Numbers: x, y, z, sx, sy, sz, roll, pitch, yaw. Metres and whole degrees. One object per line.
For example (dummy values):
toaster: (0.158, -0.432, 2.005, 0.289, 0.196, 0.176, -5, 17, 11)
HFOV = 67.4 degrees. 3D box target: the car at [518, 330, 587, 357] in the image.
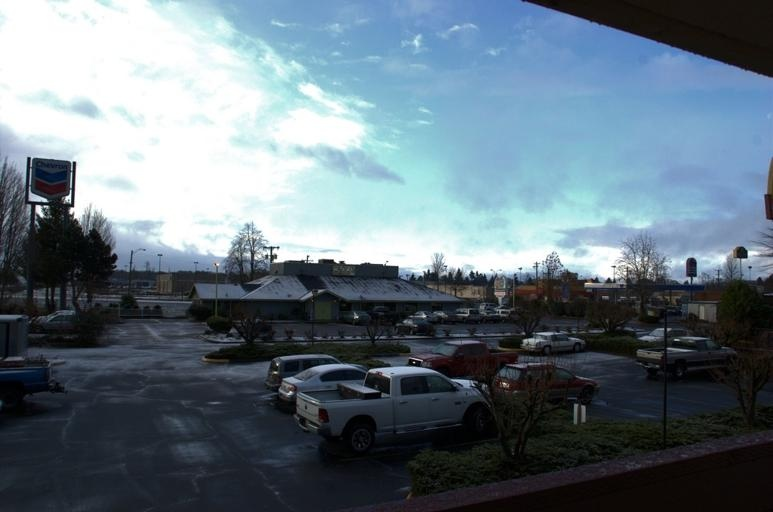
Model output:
car: (11.035, 5.740, 38.488, 5.601, 1.147, 2.407, 1, -1, -39)

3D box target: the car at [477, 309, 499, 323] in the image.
car: (11.462, 6.821, 64.601, 1.286, 0.854, 1.938, 0, -3, -18)

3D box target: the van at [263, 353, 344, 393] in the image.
van: (-3.327, 4.713, 23.928, 2.909, 1.076, 1.308, -4, 4, -26)

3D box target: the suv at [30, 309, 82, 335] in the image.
suv: (-24.509, 4.991, 43.159, 3.449, 1.247, 1.566, 3, -1, -8)

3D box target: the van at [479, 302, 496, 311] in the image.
van: (11.951, 6.182, 68.474, 1.829, 0.913, 2.943, 0, -3, -9)

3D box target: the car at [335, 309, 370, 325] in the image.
car: (-3.119, 6.340, 58.782, 1.388, 1.057, 3.255, 1, -7, -30)

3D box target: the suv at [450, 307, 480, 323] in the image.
suv: (8.881, 6.454, 63.783, 1.426, 1.121, 2.880, 0, 6, -21)

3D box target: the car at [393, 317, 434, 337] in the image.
car: (2.368, 5.987, 48.786, 1.302, 0.894, 2.736, 0, 2, -28)
